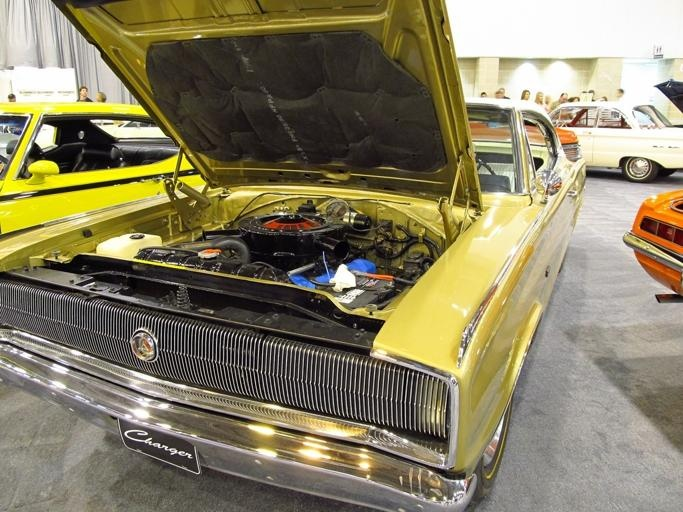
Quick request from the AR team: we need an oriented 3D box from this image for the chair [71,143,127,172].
[{"bbox_3d":[-2.737,-1.088,5.190,0.531,0.323,0.448,1,12,6],"label":"chair"}]
